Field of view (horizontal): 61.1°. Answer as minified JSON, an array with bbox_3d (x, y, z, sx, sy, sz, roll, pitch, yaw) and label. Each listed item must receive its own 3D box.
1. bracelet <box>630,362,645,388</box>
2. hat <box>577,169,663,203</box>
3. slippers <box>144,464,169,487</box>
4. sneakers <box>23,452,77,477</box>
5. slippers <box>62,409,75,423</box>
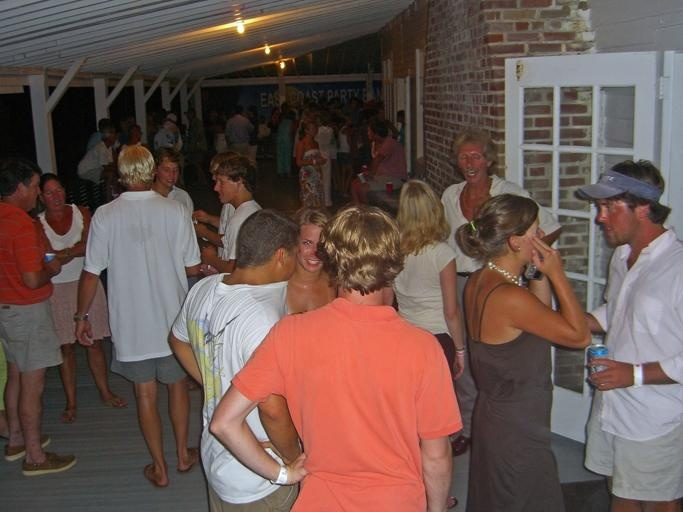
[{"bbox_3d":[1.622,0.667,3.182,0.039,0.100,0.082,3,-7,5],"label":"bracelet"},{"bbox_3d":[1.585,-0.377,3.269,0.320,0.120,0.226,10,3,11],"label":"hat"},{"bbox_3d":[-1.391,1.662,4.372,0.172,0.173,0.084,21,-9,17],"label":"slippers"},{"bbox_3d":[-2.276,1.599,4.542,0.358,0.136,0.167,0,9,-21],"label":"sneakers"},{"bbox_3d":[-2.448,1.440,5.209,0.117,0.079,0.107,-4,9,-14],"label":"slippers"}]
